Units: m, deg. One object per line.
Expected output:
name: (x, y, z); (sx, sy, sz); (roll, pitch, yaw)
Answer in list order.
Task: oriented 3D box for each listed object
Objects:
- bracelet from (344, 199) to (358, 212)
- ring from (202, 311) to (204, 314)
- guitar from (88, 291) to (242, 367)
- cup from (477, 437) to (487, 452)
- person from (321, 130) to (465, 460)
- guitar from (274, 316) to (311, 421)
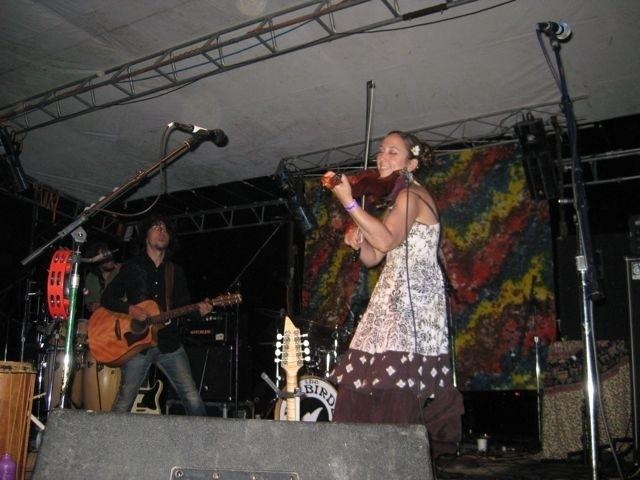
bracelet: (0.212, -0.230, 4.299); (0.069, 0.044, 0.075); (-37, -3, -3)
ring: (-1.317, 0.806, 7.188); (0.017, 0.031, 0.030); (2, -11, -7)
guitar: (-2.057, 1.013, 7.068); (1.196, 0.703, 0.577); (-1, 3, 16)
cup: (1.949, 2.441, 7.677); (0.119, 0.145, 0.129); (2, -12, 0)
person: (0.514, 0.371, 4.390); (0.914, 2.265, 0.730); (-2, 4, -7)
guitar: (-0.318, 1.491, 7.378); (0.402, 1.236, 1.107); (-2, 3, -2)
